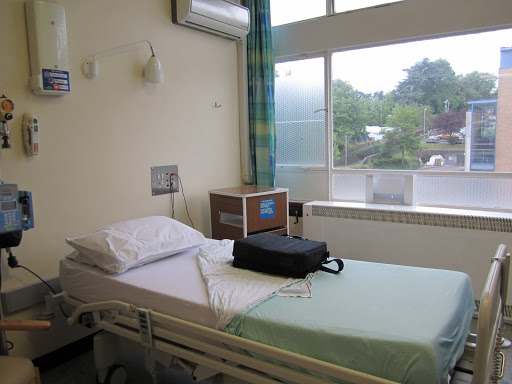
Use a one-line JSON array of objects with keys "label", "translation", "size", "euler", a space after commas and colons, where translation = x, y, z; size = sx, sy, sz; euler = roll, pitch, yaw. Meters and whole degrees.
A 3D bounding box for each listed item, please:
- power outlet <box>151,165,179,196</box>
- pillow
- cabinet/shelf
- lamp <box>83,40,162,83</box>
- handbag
[{"label": "power outlet", "translation": [-0.895, -0.119, 3.830], "size": [0.055, 0.259, 0.268], "euler": [4, 6, 45]}, {"label": "pillow", "translation": [-0.847, 0.358, 2.960], "size": [0.477, 0.208, 0.644], "euler": [10, 15, 35]}, {"label": "cabinet/shelf", "translation": [-0.053, 0.153, 4.171], "size": [0.601, 0.622, 0.618], "euler": [6, 21, 38]}, {"label": "lamp", "translation": [-1.110, -1.174, 3.400], "size": [0.190, 0.400, 0.735], "euler": [7, 12, 40]}, {"label": "handbag", "translation": [0.145, 0.419, 2.689], "size": [0.511, 0.163, 0.333], "euler": [5, 7, 32]}]
